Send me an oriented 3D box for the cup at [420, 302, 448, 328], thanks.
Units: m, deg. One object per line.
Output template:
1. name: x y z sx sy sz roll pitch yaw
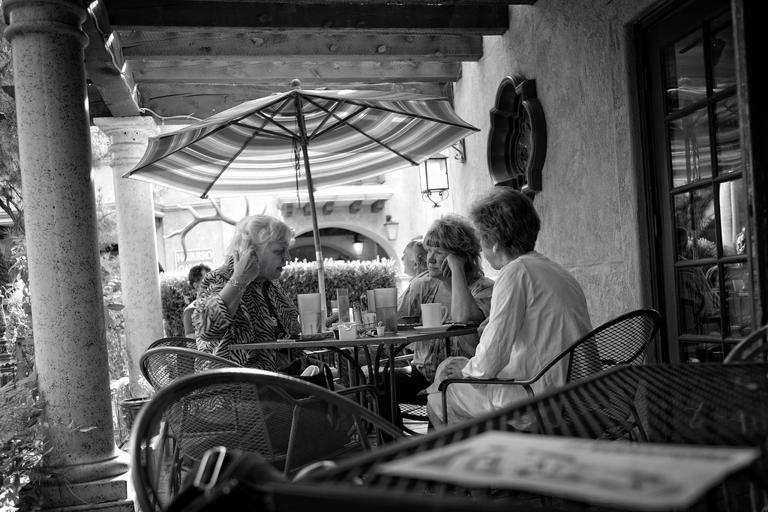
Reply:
1. cup: 0.329 0.380 4.668 0.161 0.154 0.105 2 -8 -23

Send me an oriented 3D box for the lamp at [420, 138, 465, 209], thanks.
1. lamp: 0.933 -1.450 10.949 0.619 1.415 0.283 -2 -15 5

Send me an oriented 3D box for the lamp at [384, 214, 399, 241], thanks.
1. lamp: 0.243 -1.051 25.353 0.710 1.092 0.713 0 -4 -2
